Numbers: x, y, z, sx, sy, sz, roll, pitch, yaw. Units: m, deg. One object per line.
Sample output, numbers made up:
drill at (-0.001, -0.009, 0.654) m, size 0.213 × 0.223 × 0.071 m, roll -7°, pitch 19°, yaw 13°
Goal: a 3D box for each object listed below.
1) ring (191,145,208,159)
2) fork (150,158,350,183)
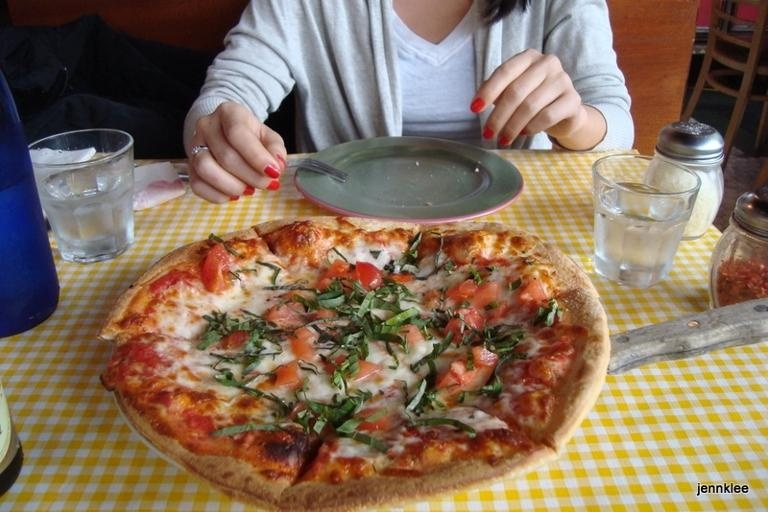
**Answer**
ring at (-0.574, -0.327, 1.705) m, size 0.044 × 0.020 × 0.048 m, roll -5°, pitch 30°, yaw 3°
fork at (-0.400, -0.260, 1.700) m, size 0.563 × 0.062 × 0.074 m, roll 1°, pitch 46°, yaw 4°
